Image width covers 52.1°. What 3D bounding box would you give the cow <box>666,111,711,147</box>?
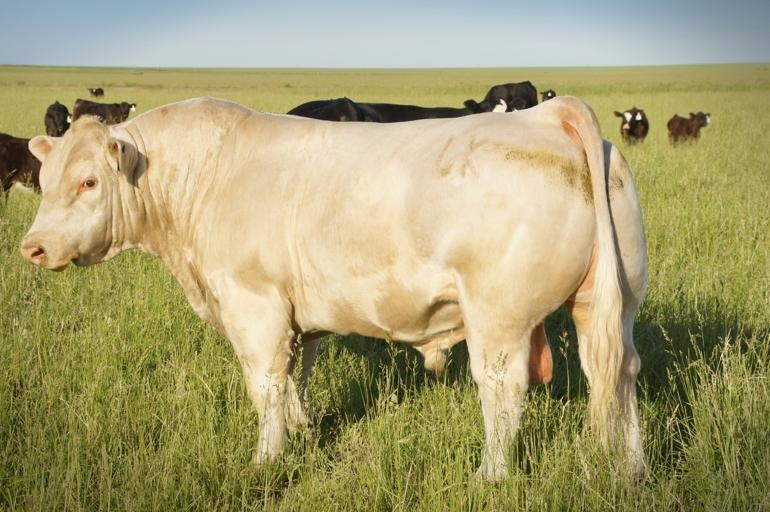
[{"bbox_3d":[10.185,-4.283,26.499,0.669,1.095,1.824,1,4,-22],"label":"cow"}]
